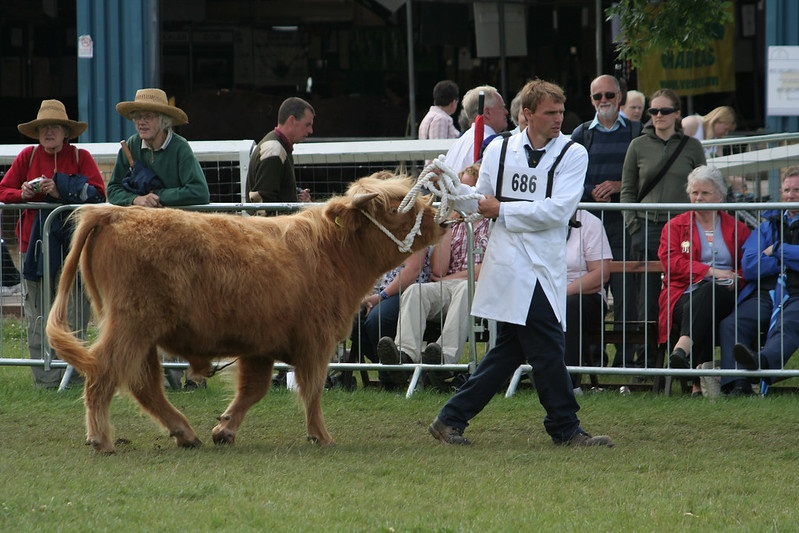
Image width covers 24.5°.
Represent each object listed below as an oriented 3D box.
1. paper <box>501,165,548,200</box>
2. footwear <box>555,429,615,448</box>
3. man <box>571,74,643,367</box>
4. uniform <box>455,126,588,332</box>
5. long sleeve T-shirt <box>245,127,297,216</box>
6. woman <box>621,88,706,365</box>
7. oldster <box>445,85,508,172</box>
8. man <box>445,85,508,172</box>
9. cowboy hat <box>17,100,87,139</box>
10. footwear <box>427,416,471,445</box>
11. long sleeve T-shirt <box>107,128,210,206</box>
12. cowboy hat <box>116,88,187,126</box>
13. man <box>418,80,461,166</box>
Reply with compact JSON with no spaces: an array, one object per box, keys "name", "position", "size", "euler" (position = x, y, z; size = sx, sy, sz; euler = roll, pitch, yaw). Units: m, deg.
[{"name":"paper","position":[1.326,-0.887,19.310],"size":[0.313,0.255,0.005],"euler":[7,-5,9]},{"name":"footwear","position":[1.962,1.835,19.407],"size":[0.606,0.267,0.217],"euler":[-6,-8,14]},{"name":"man","position":[2.633,-0.577,22.612],"size":[0.954,3.548,0.989],"euler":[0,15,24]},{"name":"uniform","position":[1.213,-0.402,19.380],"size":[1.198,2.085,1.047],"euler":[8,5,17]},{"name":"long sleeve T-shirt","position":[-1.474,-1.123,21.762],"size":[0.526,0.957,1.004],"euler":[0,7,8]},{"name":"woman","position":[3.237,-0.416,22.214],"size":[1.012,3.495,0.987],"euler":[-2,6,1]},{"name":"oldster","position":[0.967,-1.531,22.247],"size":[0.680,1.388,0.998],"euler":[3,-8,-4]},{"name":"man","position":[0.970,-1.547,22.282],"size":[0.683,1.350,0.982],"euler":[1,-4,-4]},{"name":"cowboy hat","position":[-4.058,-1.776,21.526],"size":[0.728,0.367,0.864],"euler":[-7,13,-24]},{"name":"footwear","position":[0.511,1.746,19.477],"size":[0.472,0.248,0.194],"euler":[21,10,7]},{"name":"long sleeve T-shirt","position":[-2.781,-1.108,20.994],"size":[1.186,0.940,0.610],"euler":[2,-5,7]},{"name":"cowboy hat","position":[-2.815,-1.885,21.029],"size":[0.824,0.329,0.729],"euler":[-1,-6,31]},{"name":"man","position":[0.565,-2.059,24.469],"size":[0.512,0.875,0.809],"euler":[3,5,-13]}]
